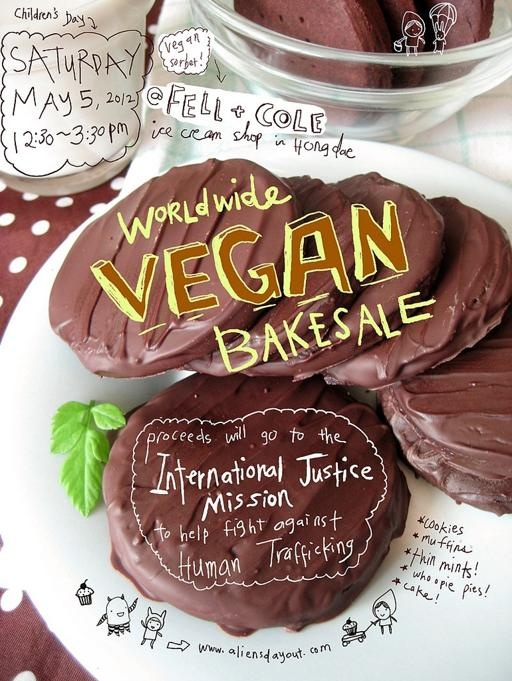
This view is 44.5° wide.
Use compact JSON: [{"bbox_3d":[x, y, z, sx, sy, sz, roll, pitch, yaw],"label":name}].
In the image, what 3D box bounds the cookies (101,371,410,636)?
[{"bbox_3d":[-0.008,0.240,1.004,0.473,0.069,0.395,2,69,-2],"label":"cookies"}]
